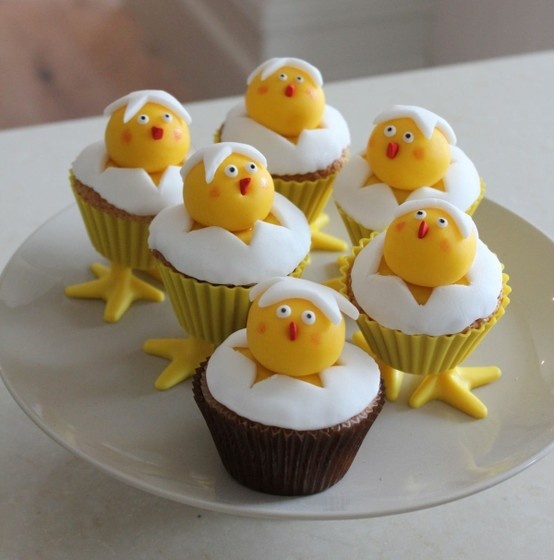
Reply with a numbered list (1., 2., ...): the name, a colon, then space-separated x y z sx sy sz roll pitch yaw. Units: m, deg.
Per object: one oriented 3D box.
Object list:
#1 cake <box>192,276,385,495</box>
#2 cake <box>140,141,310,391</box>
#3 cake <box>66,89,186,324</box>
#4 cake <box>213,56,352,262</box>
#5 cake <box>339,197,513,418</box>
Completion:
1. cake: 0.014 0.160 1.321 0.327 0.372 0.332 10 21 14
2. cake: -0.107 -0.045 1.582 0.320 0.539 0.356 1 29 -15
3. cake: -0.329 -0.198 1.690 0.268 0.521 0.296 5 26 -12
4. cake: 0.038 -0.330 1.895 0.342 0.470 0.339 -14 38 -16
5. cake: 0.288 0.008 1.490 0.364 0.433 0.351 13 38 19
